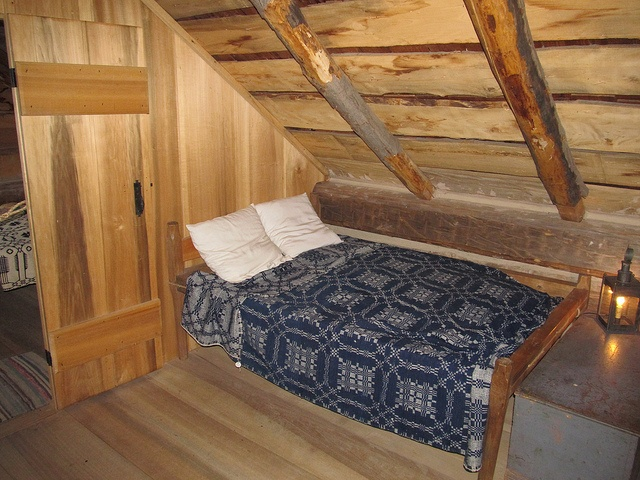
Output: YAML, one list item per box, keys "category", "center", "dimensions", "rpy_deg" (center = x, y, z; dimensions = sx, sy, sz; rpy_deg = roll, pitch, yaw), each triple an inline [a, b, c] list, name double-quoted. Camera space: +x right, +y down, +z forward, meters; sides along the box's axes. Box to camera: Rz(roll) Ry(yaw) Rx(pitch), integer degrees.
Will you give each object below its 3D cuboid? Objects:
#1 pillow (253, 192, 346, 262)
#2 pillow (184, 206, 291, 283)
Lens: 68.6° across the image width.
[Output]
- category: "pillow"
  center: [-0.179, -0.100, 3.359]
  dimensions: [0.571, 0.494, 0.123]
  rpy_deg: [-21, -26, -46]
- category: "pillow"
  center: [-0.545, 0.035, 2.974]
  dimensions: [0.585, 0.486, 0.157]
  rpy_deg: [-24, -19, -47]
